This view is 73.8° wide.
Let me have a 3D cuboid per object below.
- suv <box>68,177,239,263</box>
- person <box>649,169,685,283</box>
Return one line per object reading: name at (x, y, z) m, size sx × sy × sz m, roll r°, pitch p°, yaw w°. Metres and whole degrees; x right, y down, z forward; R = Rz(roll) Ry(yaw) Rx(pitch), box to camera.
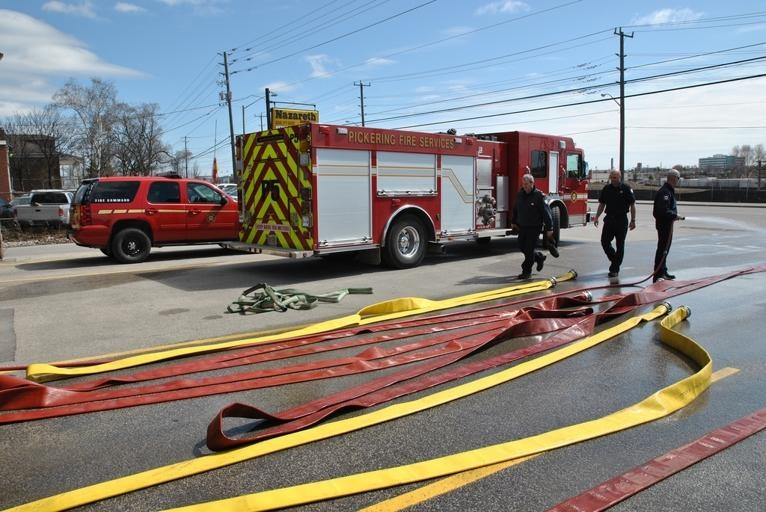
suv at (-6.419, -1.672, 15.136) m, size 2.633 × 2.006 × 5.485 m, roll 13°, pitch 15°, yaw 39°
person at (5.928, -0.917, 10.550) m, size 0.649 × 1.930 × 0.774 m, roll 1°, pitch 8°, yaw 20°
